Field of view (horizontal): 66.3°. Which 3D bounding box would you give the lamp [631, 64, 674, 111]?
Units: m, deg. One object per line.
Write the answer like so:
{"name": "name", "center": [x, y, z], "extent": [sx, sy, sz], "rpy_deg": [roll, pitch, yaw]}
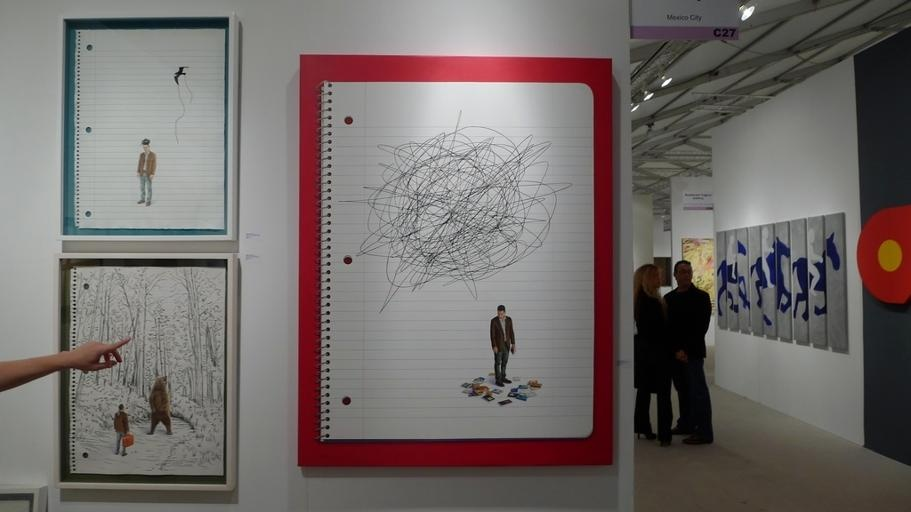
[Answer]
{"name": "lamp", "center": [2.647, -2.303, 9.491], "extent": [0.463, 0.580, 0.804], "rpy_deg": [7, 1, 12]}

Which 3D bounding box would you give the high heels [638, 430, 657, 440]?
{"name": "high heels", "center": [2.206, 2.074, 8.051], "extent": [0.263, 0.100, 0.084], "rpy_deg": [-3, -1, 10]}

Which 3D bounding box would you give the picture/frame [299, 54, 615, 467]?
{"name": "picture/frame", "center": [-0.084, 0.105, 5.208], "extent": [3.442, 3.784, 0.398], "rpy_deg": [0, 1, -1]}

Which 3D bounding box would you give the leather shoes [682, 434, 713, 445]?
{"name": "leather shoes", "center": [2.723, 2.075, 7.894], "extent": [0.340, 0.121, 0.118], "rpy_deg": [2, -3, 6]}

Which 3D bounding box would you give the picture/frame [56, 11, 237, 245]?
{"name": "picture/frame", "center": [-2.295, -0.913, 5.225], "extent": [1.940, 2.171, 0.199], "rpy_deg": [1, 0, 1]}

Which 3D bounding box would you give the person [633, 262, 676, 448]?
{"name": "person", "center": [2.237, 1.110, 7.905], "extent": [0.621, 2.082, 0.350], "rpy_deg": [7, 1, 15]}
